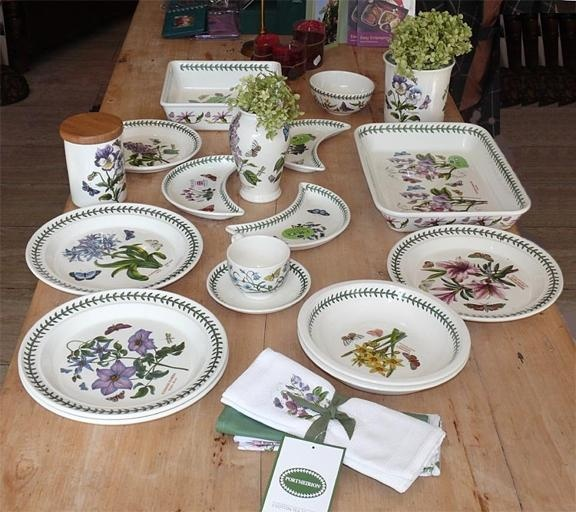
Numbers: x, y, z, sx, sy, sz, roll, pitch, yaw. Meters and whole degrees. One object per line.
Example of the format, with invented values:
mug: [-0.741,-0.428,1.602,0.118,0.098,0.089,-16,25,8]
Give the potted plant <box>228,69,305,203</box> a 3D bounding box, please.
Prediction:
potted plant: [-0.062,-0.266,1.347,0.188,0.264,0.182,26,37,37]

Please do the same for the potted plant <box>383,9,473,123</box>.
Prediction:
potted plant: [0.363,-0.507,1.613,0.242,0.255,0.236,-13,41,-9]

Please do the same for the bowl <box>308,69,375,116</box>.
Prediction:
bowl: [0.167,-0.503,1.778,0.225,0.077,0.173,-1,38,-3]

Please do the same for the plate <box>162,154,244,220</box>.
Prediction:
plate: [-0.200,-0.159,1.416,0.191,0.026,0.215,26,36,29]

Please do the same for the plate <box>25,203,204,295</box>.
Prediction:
plate: [-0.362,-0.013,1.206,0.300,0.025,0.231,-5,33,-19]

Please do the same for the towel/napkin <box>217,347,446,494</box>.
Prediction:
towel/napkin: [0.066,0.238,0.862,0.335,0.046,0.140,16,40,18]

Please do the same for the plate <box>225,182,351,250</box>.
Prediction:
plate: [0.000,-0.085,1.271,0.234,0.026,0.162,-7,35,-8]
